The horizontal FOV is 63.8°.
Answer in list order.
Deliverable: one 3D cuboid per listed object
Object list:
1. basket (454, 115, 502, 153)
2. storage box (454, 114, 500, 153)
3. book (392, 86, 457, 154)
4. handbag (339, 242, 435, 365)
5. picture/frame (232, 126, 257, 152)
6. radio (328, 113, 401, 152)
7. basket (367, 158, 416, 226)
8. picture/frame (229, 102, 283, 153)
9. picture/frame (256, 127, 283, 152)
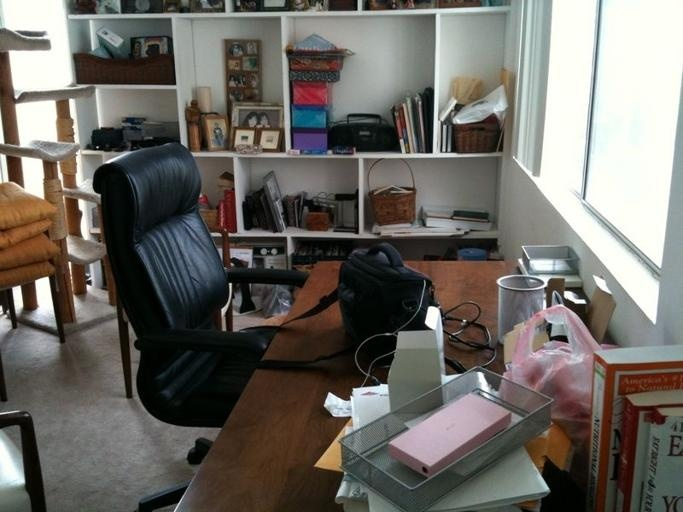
[{"bbox_3d":[0.853,-0.759,3.456,0.271,0.175,0.203,-1,11,-2],"label":"basket"},{"bbox_3d":[0.863,-0.754,3.454,0.260,0.174,0.206,0,11,-1],"label":"storage box"},{"bbox_3d":[0.505,-0.837,3.507,0.343,0.470,0.152,4,14,38],"label":"book"},{"bbox_3d":[0.115,0.128,1.565,0.194,0.316,0.363,-5,14,-23],"label":"handbag"},{"bbox_3d":[-0.652,-0.786,3.694,0.174,0.187,0.020,2,-3,2],"label":"picture/frame"},{"bbox_3d":[0.136,-0.788,3.724,0.495,0.274,0.282,-1,-9,-3],"label":"radio"},{"bbox_3d":[0.344,-0.420,3.731,0.302,0.410,0.228,-6,3,11],"label":"basket"},{"bbox_3d":[-0.569,-0.861,3.698,0.331,0.338,0.049,1,6,5],"label":"picture/frame"},{"bbox_3d":[-0.487,-0.784,3.683,0.165,0.171,0.013,2,10,0],"label":"picture/frame"}]
